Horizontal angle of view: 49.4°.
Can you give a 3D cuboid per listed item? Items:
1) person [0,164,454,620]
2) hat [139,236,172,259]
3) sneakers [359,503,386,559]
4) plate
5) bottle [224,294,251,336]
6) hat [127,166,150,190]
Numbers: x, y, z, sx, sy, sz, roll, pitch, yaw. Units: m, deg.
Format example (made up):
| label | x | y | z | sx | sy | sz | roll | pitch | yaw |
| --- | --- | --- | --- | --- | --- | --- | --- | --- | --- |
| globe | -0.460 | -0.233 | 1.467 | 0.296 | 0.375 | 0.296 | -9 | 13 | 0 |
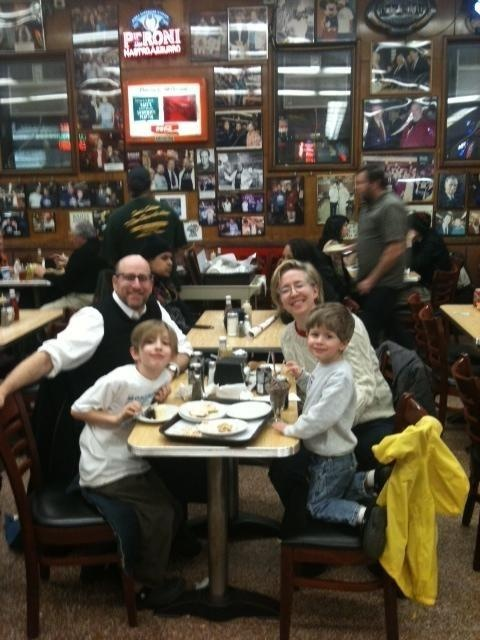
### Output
| label | x | y | z | sx | sy | sz | roll | pitch | yaw |
| --- | --- | --- | --- | --- | --- | --- | --- | --- | --- |
| person | 0.137 | 0.390 | 2.127 | 1.595 | 1.247 | 1.117 | -2 | 11 | 2 |
| hat | -0.529 | -0.448 | 3.268 | 0.160 | 0.143 | 0.127 | -13 | 19 | 2 |
| sneakers | 0.369 | 0.577 | 1.462 | 0.068 | 0.149 | 0.055 | 2 | -6 | 2 |
| plate | -0.112 | 0.305 | 1.673 | 0.452 | 0.049 | 0.306 | -1 | 4 | -8 |
| bottle | -0.008 | -0.038 | 3.376 | 0.178 | 0.319 | 0.275 | 2 | 15 | 5 |
| hat | -0.800 | -1.121 | 4.200 | 0.132 | 0.208 | 0.195 | 2 | 8 | 3 |
